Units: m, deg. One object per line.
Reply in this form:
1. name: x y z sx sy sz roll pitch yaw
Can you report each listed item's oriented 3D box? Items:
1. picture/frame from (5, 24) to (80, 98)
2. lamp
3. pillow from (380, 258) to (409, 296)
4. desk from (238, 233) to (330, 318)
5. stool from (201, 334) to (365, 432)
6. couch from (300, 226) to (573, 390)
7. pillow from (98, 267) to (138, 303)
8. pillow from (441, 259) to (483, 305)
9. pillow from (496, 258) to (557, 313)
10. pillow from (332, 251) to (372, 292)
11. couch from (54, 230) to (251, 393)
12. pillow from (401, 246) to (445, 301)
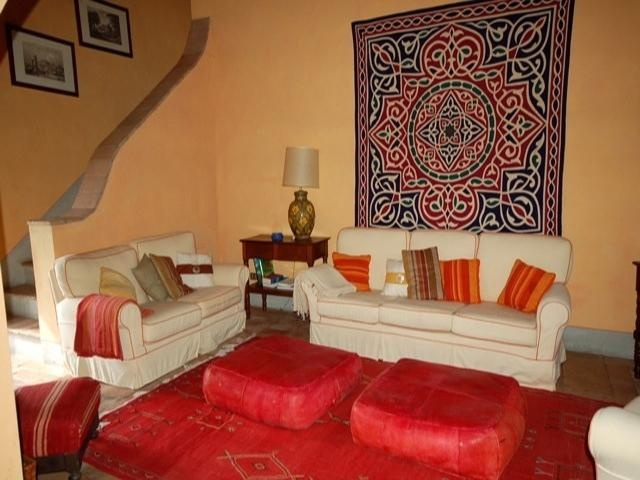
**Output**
1. picture/frame: -3.099 -1.964 5.323 0.037 0.741 0.976 -1 0 29
2. lamp: -0.172 -0.515 5.444 0.316 1.008 0.475 7 11 38
3. pillow: 0.764 0.381 4.726 0.298 0.334 0.120 6 -3 -20
4. desk: -0.411 0.430 5.683 0.902 0.969 0.608 4 10 20
5. stool: -0.313 0.982 3.463 0.639 0.271 0.698 2 5 33
6. couch: 1.063 0.557 4.669 2.401 1.309 0.970 4 6 31
7. pillow: -1.798 0.388 4.269 0.291 0.271 0.303 -4 9 -27
8. pillow: 1.313 0.407 4.496 0.328 0.375 0.138 -3 -22 13
9. pillow: 1.817 0.411 4.279 0.140 0.506 0.507 34 -18 -30
10. pillow: 0.309 0.332 4.946 0.333 0.355 0.170 12 -40 -9
11. couch: -1.529 0.577 4.693 0.979 1.154 1.728 1 8 26
12. pillow: 0.961 0.307 4.551 0.358 0.534 0.155 -7 -22 14
